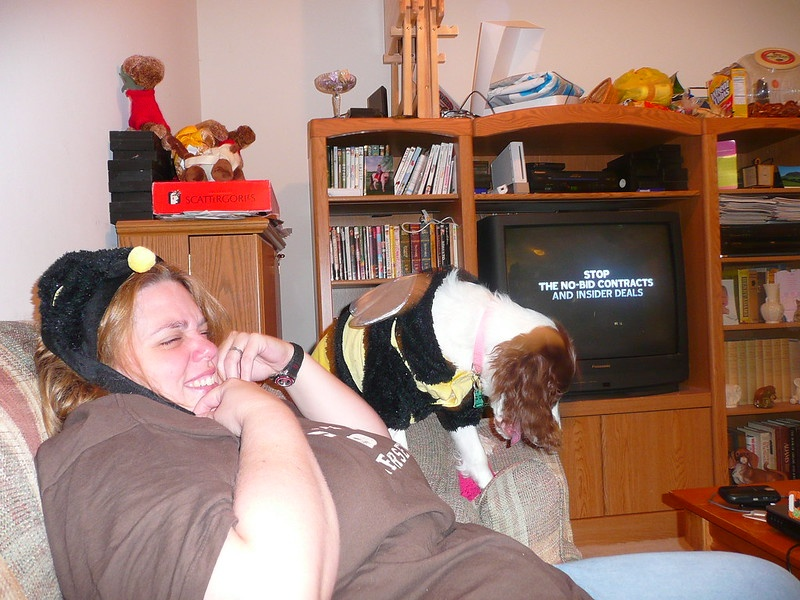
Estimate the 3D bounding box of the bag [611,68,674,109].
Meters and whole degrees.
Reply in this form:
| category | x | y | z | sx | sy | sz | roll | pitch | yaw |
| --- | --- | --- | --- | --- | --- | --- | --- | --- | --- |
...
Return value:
| category | x | y | z | sx | sy | sz | roll | pitch | yaw |
| --- | --- | --- | --- | --- | --- | --- | --- | --- | --- |
| bag | 1.055 | -0.903 | 3.137 | 0.248 | 0.194 | 0.181 | 0 | 0 | 11 |

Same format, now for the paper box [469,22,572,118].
| category | x | y | z | sx | sy | sz | roll | pitch | yaw |
| --- | --- | --- | --- | --- | --- | --- | --- | --- | --- |
| paper box | 0.468 | -0.985 | 3.235 | 0.393 | 0.415 | 0.469 | 12 | 25 | 43 |

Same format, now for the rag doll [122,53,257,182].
| category | x | y | z | sx | sy | sz | roll | pitch | yaw |
| --- | --- | --- | --- | --- | --- | --- | --- | --- | --- |
| rag doll | -0.775 | -0.654 | 2.660 | 0.512 | 0.443 | 0.331 | -3 | 22 | -20 |

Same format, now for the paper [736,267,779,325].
| category | x | y | z | sx | sy | sz | roll | pitch | yaw |
| --- | --- | --- | --- | --- | --- | --- | --- | --- | --- |
| paper | 1.652 | -0.018 | 3.289 | 0.246 | 0.247 | 0.199 | 1 | 0 | 21 |

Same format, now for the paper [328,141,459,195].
| category | x | y | z | sx | sy | sz | roll | pitch | yaw |
| --- | --- | --- | --- | --- | --- | --- | --- | --- | --- |
| paper | -0.034 | -0.540 | 2.985 | 0.523 | 0.217 | 0.114 | -1 | 6 | -5 |

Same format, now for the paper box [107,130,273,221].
| category | x | y | z | sx | sy | sz | roll | pitch | yaw |
| --- | --- | --- | --- | --- | --- | --- | --- | --- | --- |
| paper box | -0.738 | -0.441 | 2.621 | 0.564 | 0.319 | 0.284 | -2 | 6 | -10 |

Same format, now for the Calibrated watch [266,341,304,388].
| category | x | y | z | sx | sy | sz | roll | pitch | yaw |
| --- | --- | --- | --- | --- | --- | --- | --- | --- | --- |
| Calibrated watch | -0.302 | 0.166 | 1.902 | 0.061 | 0.092 | 0.096 | 32 | -28 | -5 |

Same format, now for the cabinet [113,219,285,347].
| category | x | y | z | sx | sy | sz | roll | pitch | yaw |
| --- | --- | --- | --- | --- | --- | --- | --- | --- | --- |
| cabinet | -0.616 | -0.033 | 2.732 | 0.301 | 0.410 | 0.440 | -5 | -4 | -3 |

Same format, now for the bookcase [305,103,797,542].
| category | x | y | z | sx | sy | sz | roll | pitch | yaw |
| --- | --- | --- | --- | --- | --- | --- | --- | --- | --- |
| bookcase | 0.557 | 0.050 | 2.662 | 1.965 | 1.650 | 0.483 | -2 | 0 | -8 |
